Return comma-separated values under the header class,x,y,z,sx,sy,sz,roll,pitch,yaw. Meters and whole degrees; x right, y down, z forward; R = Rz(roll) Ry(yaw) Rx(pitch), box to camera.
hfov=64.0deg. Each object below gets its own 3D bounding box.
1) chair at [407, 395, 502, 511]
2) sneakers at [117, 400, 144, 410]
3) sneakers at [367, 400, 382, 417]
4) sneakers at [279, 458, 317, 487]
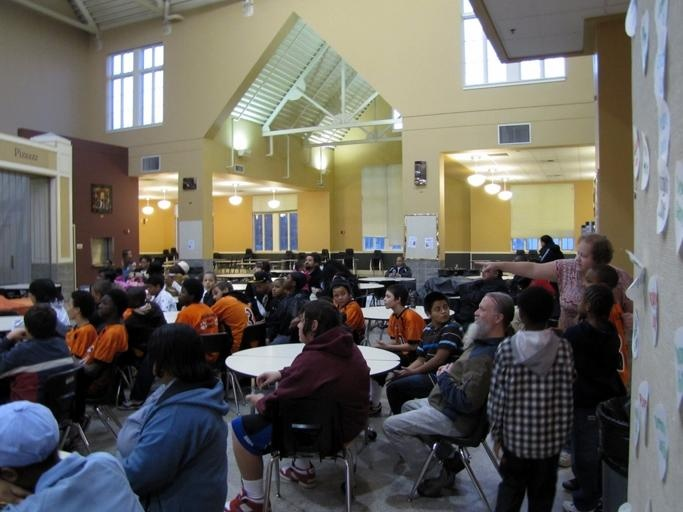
class,x,y,z,sx,sy,sz,roll,pitch,yaw
chair,0.764,1.244,3.725,0.634,0.931,0.562,2,-4,17
sneakers,-2.050,1.424,5.271,0.260,0.128,0.100,3,-4,-3
sneakers,0.316,1.403,5.040,0.097,0.128,0.283,-3,-12,15
sneakers,-0.304,1.466,3.808,0.126,0.148,0.291,4,0,-43
